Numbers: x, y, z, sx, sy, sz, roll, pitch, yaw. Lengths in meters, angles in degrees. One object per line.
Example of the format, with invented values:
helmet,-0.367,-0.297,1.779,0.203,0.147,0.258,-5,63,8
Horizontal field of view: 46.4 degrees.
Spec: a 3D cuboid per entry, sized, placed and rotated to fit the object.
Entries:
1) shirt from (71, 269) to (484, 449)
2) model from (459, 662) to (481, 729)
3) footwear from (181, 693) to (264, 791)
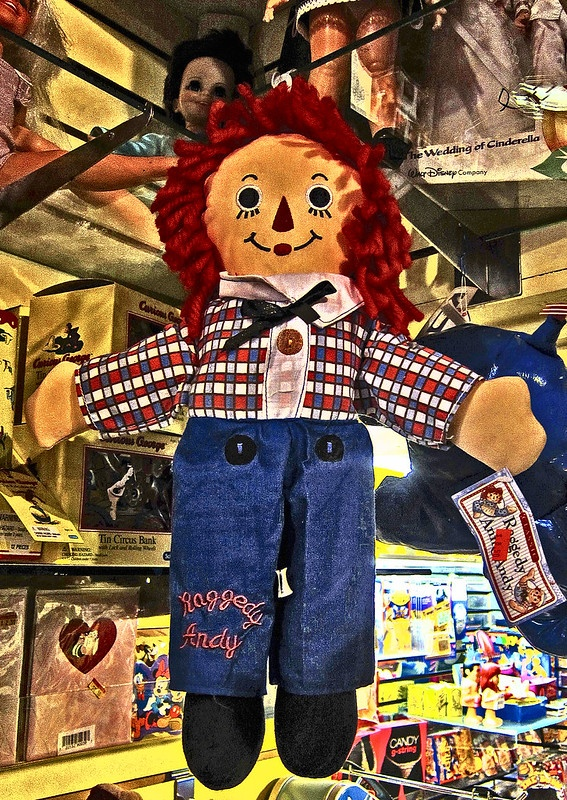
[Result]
shirt,-0.027,-0.058,0.897,0.561,0.154,0.154,1,-1,13
model,0.438,0.696,1.544,0.049,0.122,0.062,-12,-28,25
footwear,-0.067,0.369,0.765,0.077,0.125,0.044,4,-12,-4
